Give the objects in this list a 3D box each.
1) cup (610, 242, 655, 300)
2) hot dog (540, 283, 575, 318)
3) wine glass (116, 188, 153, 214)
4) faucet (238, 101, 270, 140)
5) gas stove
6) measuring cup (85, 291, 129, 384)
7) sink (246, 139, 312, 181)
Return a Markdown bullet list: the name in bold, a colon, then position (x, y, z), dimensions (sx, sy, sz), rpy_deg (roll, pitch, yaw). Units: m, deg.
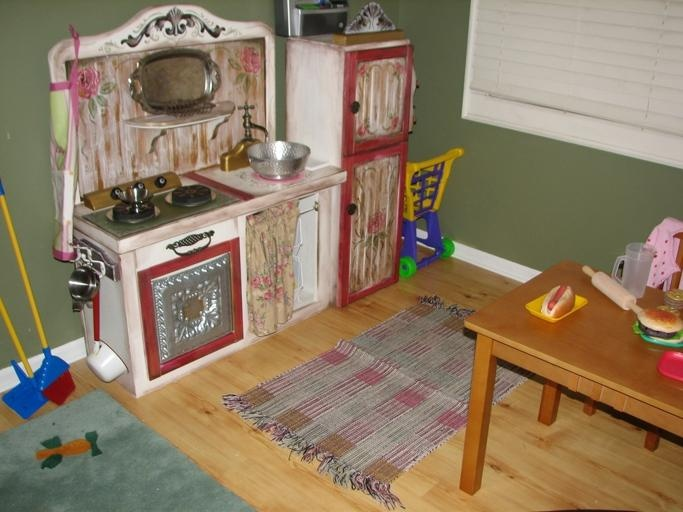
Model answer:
- **cup**: position (1.327, 0.060, 2.535), dimensions (0.140, 0.207, 0.203), rpy_deg (6, 27, 11)
- **hot dog**: position (0.916, 0.188, 2.394), dimensions (0.106, 0.059, 0.171), rpy_deg (19, 40, 40)
- **wine glass**: position (-1.104, -0.304, 3.027), dimensions (0.175, 0.120, 0.198), rpy_deg (-9, 28, -17)
- **faucet**: position (-0.579, -0.852, 3.701), dimensions (0.233, 0.234, 0.116), rpy_deg (0, 9, -35)
- **gas stove**: position (-0.995, -0.270, 3.202), dimensions (0.489, 0.032, 0.851), rpy_deg (23, 29, 33)
- **measuring cup**: position (-1.317, 0.431, 3.187), dimensions (0.233, 0.551, 0.242), rpy_deg (13, 10, -2)
- **sink**: position (-0.393, -0.597, 3.581), dimensions (0.385, 0.159, 0.404), rpy_deg (-5, 27, -10)
